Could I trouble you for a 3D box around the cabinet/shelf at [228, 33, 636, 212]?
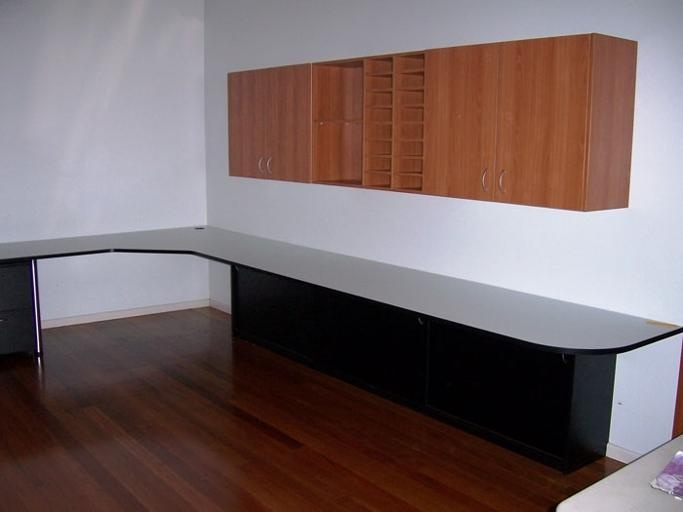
[{"bbox_3d":[0.275,-1.009,3.933,3.537,0.979,0.518,13,18,43],"label":"cabinet/shelf"}]
